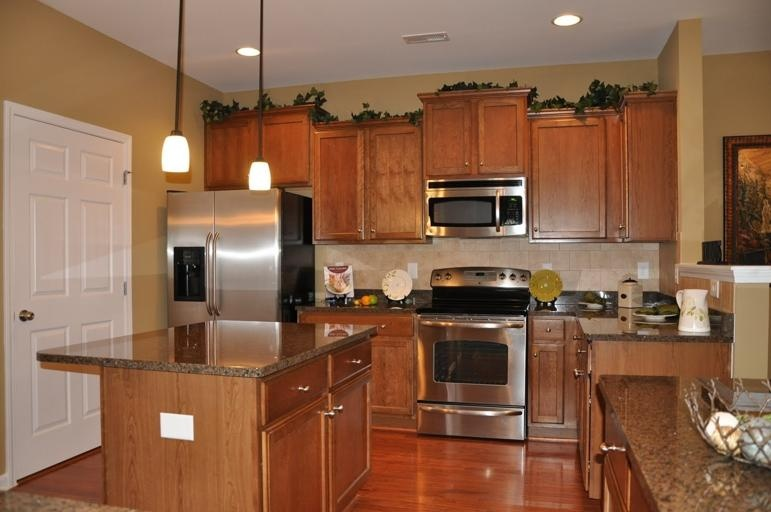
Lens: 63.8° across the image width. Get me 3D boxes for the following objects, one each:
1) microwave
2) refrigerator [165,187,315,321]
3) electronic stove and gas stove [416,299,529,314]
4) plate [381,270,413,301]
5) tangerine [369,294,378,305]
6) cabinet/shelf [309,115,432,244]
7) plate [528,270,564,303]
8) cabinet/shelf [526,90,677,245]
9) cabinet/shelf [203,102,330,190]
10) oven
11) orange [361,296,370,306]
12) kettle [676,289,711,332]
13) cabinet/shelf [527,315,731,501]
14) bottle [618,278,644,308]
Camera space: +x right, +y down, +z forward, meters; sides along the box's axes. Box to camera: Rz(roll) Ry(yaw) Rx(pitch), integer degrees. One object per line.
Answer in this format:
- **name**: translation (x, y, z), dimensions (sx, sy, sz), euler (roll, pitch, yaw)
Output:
- **microwave**: translation (0.821, -0.441, 5.578), dimensions (0.872, 0.504, 0.546), euler (0, -2, 17)
- **refrigerator**: translation (-1.365, 0.011, 5.741), dimensions (1.351, 1.255, 0.650), euler (-3, 11, -11)
- **electronic stove and gas stove**: translation (0.782, 0.455, 5.538), dimensions (0.946, 0.064, 0.470), euler (2, 10, 13)
- **plate**: translation (0.101, 0.287, 5.910), dimensions (0.267, 0.285, 0.143), euler (-1, 11, -2)
- **tangerine**: translation (-0.112, 0.411, 5.749), dimensions (0.073, 0.068, 0.071), euler (-4, 4, -38)
- **cabinet/shelf**: translation (-0.099, -0.720, 5.854), dimensions (1.317, 1.186, 0.538), euler (0, -2, 12)
- **plate**: translation (1.450, 0.285, 5.635), dimensions (0.191, 0.304, 0.247), euler (-11, 15, -43)
- **cabinet/shelf**: translation (1.912, -0.773, 5.361), dimensions (1.447, 1.268, 0.728), euler (-1, -2, 16)
- **cabinet/shelf**: translation (-1.116, -1.062, 5.955), dimensions (1.196, 0.767, 0.425), euler (-1, -3, 17)
- **oven**: translation (0.899, 1.026, 5.747), dimensions (1.180, 1.274, 1.004), euler (-1, -6, 15)
- **orange**: translation (-0.197, 0.410, 5.744), dimensions (0.070, 0.079, 0.136), euler (-5, 11, -24)
- **kettle**: translation (2.160, 0.396, 4.459), dimensions (0.295, 0.318, 0.259), euler (-2, -3, 34)
- **cabinet/shelf**: translation (1.681, 1.342, 4.672), dimensions (1.135, 1.034, 2.064), euler (0, -1, 15)
- **bottle**: translation (2.095, 0.334, 5.338), dimensions (0.212, 0.257, 0.150), euler (7, 13, 35)
